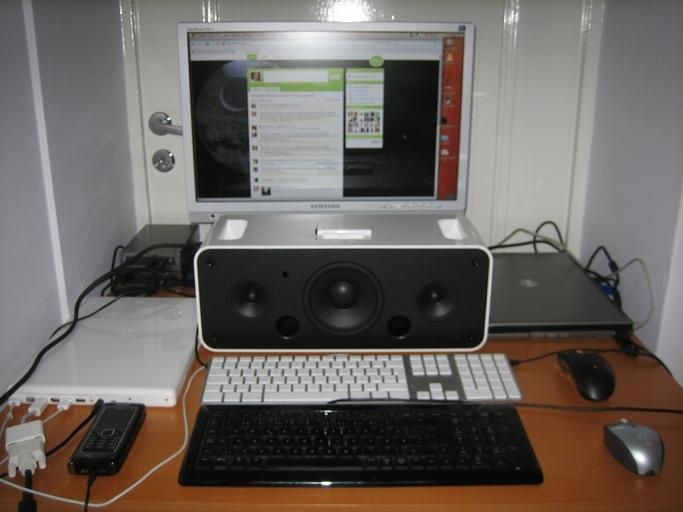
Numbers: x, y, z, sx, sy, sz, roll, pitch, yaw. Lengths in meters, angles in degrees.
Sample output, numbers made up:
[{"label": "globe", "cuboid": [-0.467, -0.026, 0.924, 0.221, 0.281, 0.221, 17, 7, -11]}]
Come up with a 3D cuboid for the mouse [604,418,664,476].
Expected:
[{"label": "mouse", "cuboid": [0.474, 0.305, 0.880, 0.092, 0.084, 0.054, -3, -20, 15]}]

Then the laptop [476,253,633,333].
[{"label": "laptop", "cuboid": [0.452, 0.088, 1.197, 0.194, 0.205, 0.027, 4, -64, 2]}]

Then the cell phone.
[{"label": "cell phone", "cuboid": [-0.384, 0.301, 0.905, 0.085, 0.164, 0.037, 3, -66, 0]}]

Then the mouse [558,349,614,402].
[{"label": "mouse", "cuboid": [0.464, 0.215, 1.035, 0.077, 0.139, 0.043, -6, -65, 4]}]

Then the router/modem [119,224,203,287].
[{"label": "router/modem", "cuboid": [-0.428, -0.027, 1.300, 0.130, 0.185, 0.075, 1, -61, 0]}]

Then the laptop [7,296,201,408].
[{"label": "laptop", "cuboid": [-0.427, 0.174, 1.058, 0.197, 0.205, 0.028, 1, -62, 0]}]
